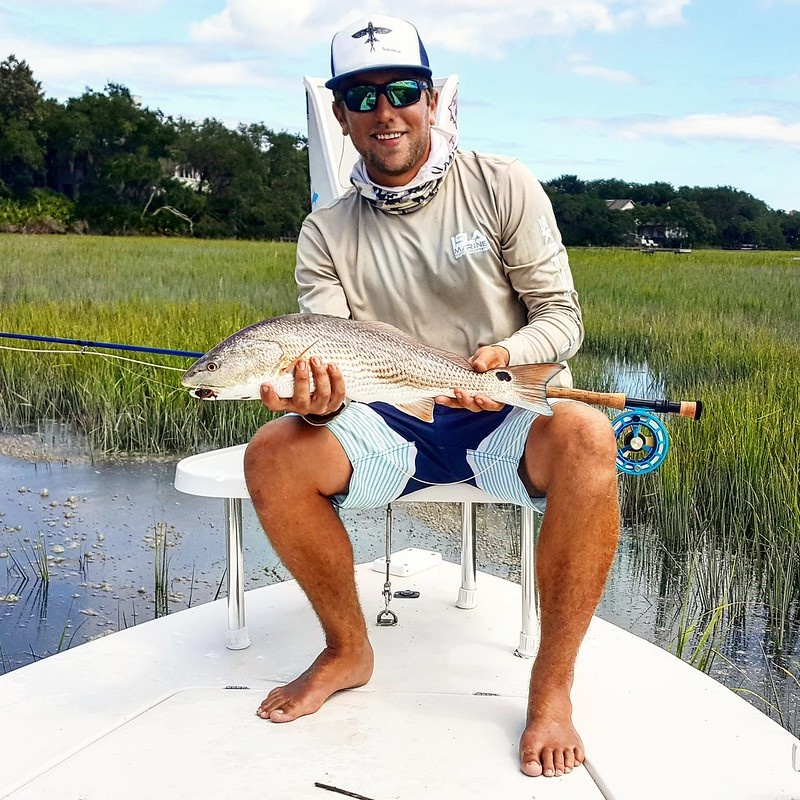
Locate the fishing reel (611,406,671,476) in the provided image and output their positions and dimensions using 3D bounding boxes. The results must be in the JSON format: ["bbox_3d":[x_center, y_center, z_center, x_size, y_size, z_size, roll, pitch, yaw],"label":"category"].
[{"bbox_3d":[0.639,0.113,2.525,0.220,0.189,0.074,1,-3,7],"label":"fishing reel"}]
